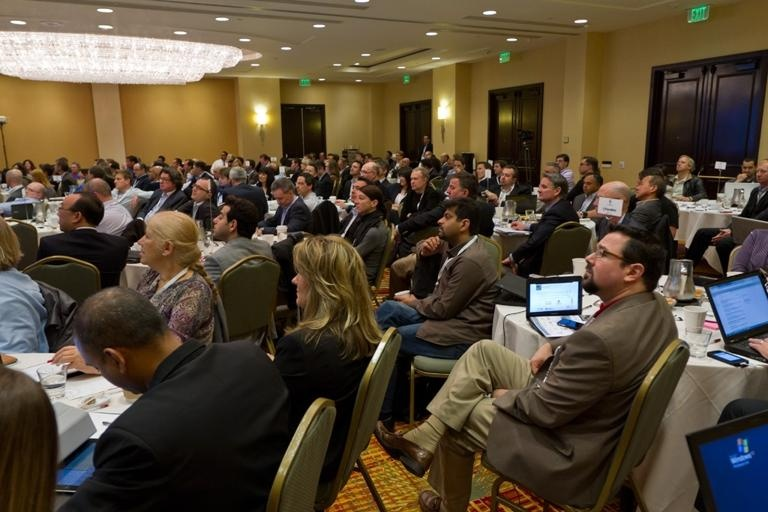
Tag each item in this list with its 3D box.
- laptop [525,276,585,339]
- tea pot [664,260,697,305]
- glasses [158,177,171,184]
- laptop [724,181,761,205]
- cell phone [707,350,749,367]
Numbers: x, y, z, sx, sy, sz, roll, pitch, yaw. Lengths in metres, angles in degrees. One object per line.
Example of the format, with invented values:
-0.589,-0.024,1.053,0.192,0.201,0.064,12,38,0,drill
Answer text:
0.948,0.265,2.771,0.366,0.316,0.545,-1,9,24,laptop
1.768,0.145,2.868,0.160,0.243,0.246,0,3,4,tea pot
-2.843,-0.974,6.270,0.071,0.088,0.099,-1,-3,15,glasses
4.791,-0.861,6.515,0.287,0.372,0.541,-2,4,5,laptop
1.637,0.493,2.298,0.099,0.019,0.179,-8,12,-19,cell phone
